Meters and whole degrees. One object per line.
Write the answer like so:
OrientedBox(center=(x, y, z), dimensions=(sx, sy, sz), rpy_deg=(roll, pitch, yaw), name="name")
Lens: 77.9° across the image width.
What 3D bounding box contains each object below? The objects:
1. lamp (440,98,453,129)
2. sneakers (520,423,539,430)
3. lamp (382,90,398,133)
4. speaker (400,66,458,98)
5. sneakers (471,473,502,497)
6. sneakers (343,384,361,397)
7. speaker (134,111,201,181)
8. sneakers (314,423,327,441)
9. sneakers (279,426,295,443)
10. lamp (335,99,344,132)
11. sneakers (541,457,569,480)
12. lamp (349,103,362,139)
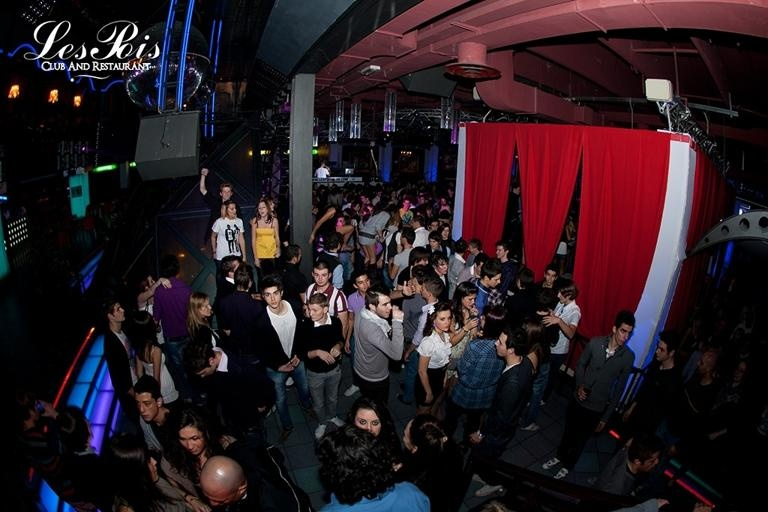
OrientedBox(center=(1.441, -3.285, 10.833), dimensions=(0.257, 0.689, 0.685), rpy_deg=(4, 8, 8), name="lamp")
OrientedBox(center=(1.963, 2.297, 6.359), dimensions=(0.159, 0.072, 0.109), rpy_deg=(-8, -4, 0), name="sneakers")
OrientedBox(center=(0.151, -3.374, 10.927), dimensions=(0.238, 0.948, 0.480), rpy_deg=(3, 8, -4), name="lamp")
OrientedBox(center=(0.879, -3.371, 9.250), dimensions=(1.208, 0.443, 0.851), rpy_deg=(-14, 39, -27), name="speaker")
OrientedBox(center=(1.142, 2.697, 5.604), dimensions=(0.498, 0.215, 0.181), rpy_deg=(-14, -1, 24), name="sneakers")
OrientedBox(center=(-0.451, 1.916, 6.779), dimensions=(0.098, 0.104, 0.246), rpy_deg=(41, 21, 17), name="sneakers")
OrientedBox(center=(-2.925, -1.507, 6.467), dimensions=(1.082, 1.096, 0.400), rpy_deg=(-1, -11, -2), name="speaker")
OrientedBox(center=(-0.804, 2.213, 6.016), dimensions=(0.149, 0.154, 0.263), rpy_deg=(3, 9, -6), name="sneakers")
OrientedBox(center=(-1.212, 2.221, 5.991), dimensions=(0.213, 0.211, 0.097), rpy_deg=(-4, 11, -44), name="sneakers")
OrientedBox(center=(-1.258, -4.011, 13.654), dimensions=(0.195, 0.810, 0.890), rpy_deg=(2, 8, -9), name="lamp")
OrientedBox(center=(2.102, 2.577, 5.839), dimensions=(0.281, 0.189, 0.242), rpy_deg=(11, 11, 40), name="sneakers")
OrientedBox(center=(-0.730, -3.576, 12.478), dimensions=(0.252, 0.844, 0.514), rpy_deg=(2, 8, -9), name="lamp")
